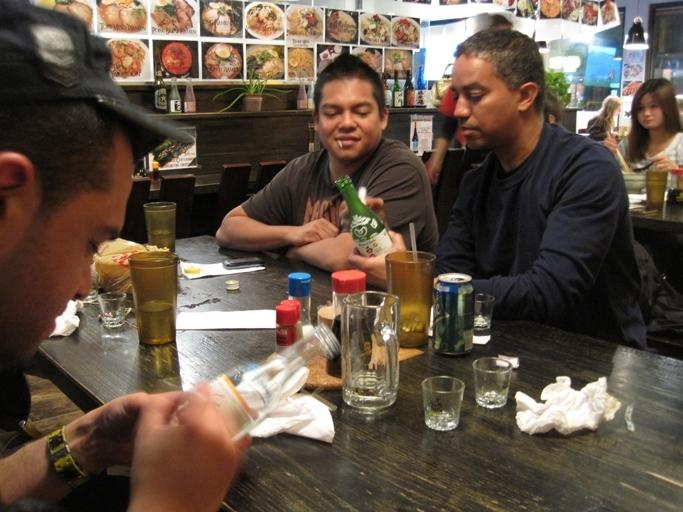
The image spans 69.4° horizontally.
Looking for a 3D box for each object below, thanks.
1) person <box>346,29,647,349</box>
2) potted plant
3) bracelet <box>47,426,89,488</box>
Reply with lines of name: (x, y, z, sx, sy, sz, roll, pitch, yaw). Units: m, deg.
person: (0.643, -0.291, 2.321, 1.408, 1.472, 1.103, 0, 9, -2)
potted plant: (-0.980, -1.682, 5.142, 0.671, 0.309, 0.481, -6, 25, -16)
bracelet: (-0.567, 0.410, 1.033, 0.028, 0.103, 0.100, -16, 48, -28)
